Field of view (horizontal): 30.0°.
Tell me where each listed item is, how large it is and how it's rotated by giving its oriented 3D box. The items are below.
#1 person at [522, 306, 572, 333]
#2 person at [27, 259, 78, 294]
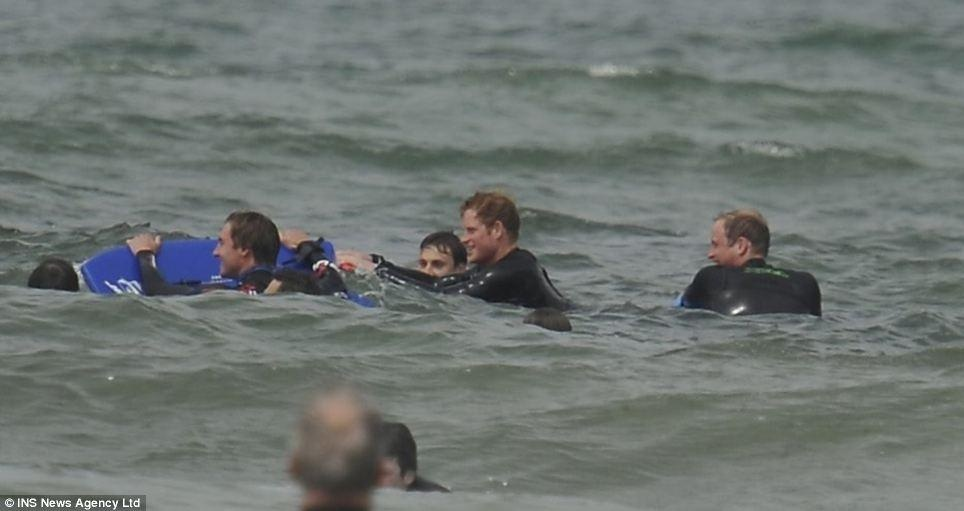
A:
[{"bbox_3d":[1.245,1.226,34.290,0.919,0.405,0.426,3,8,4],"label":"person"},{"bbox_3d":[-8.140,0.365,33.886,0.908,0.567,0.533,1,8,-11],"label":"person"}]
